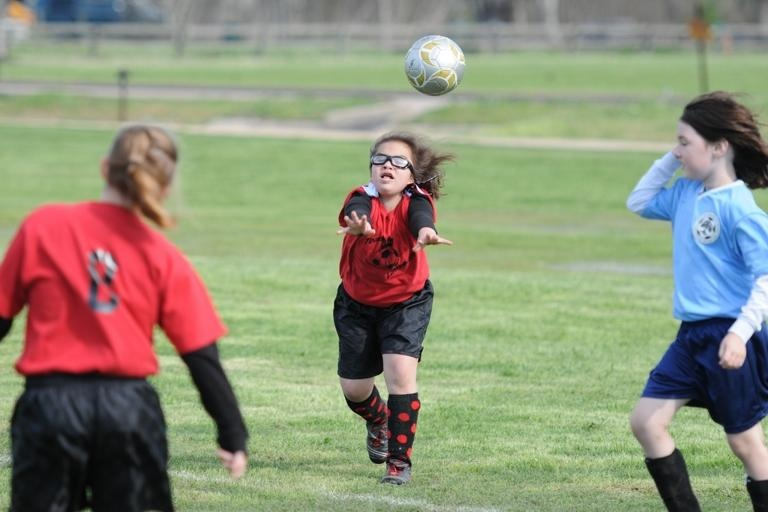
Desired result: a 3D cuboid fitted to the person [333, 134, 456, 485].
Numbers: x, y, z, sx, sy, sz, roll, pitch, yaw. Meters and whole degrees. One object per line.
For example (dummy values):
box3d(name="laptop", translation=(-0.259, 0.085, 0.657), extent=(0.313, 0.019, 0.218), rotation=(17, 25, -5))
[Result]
box3d(name="person", translation=(0.094, 0.380, 11.059), extent=(0.832, 2.600, 0.832), rotation=(-7, 13, -24))

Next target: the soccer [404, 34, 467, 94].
box3d(name="soccer", translation=(0.457, -1.631, 12.184), extent=(0.529, 0.506, 0.544), rotation=(10, 26, 31))

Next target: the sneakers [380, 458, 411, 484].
box3d(name="sneakers", translation=(0.101, 1.653, 10.932), extent=(0.270, 0.174, 0.175), rotation=(-3, 12, -13))

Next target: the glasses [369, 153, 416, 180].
box3d(name="glasses", translation=(0.067, -0.720, 11.052), extent=(0.337, 0.172, 0.168), rotation=(-1, 12, 0))

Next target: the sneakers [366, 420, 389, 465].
box3d(name="sneakers", translation=(-0.050, 1.475, 11.198), extent=(0.133, 0.345, 0.146), rotation=(-4, 7, 1))
